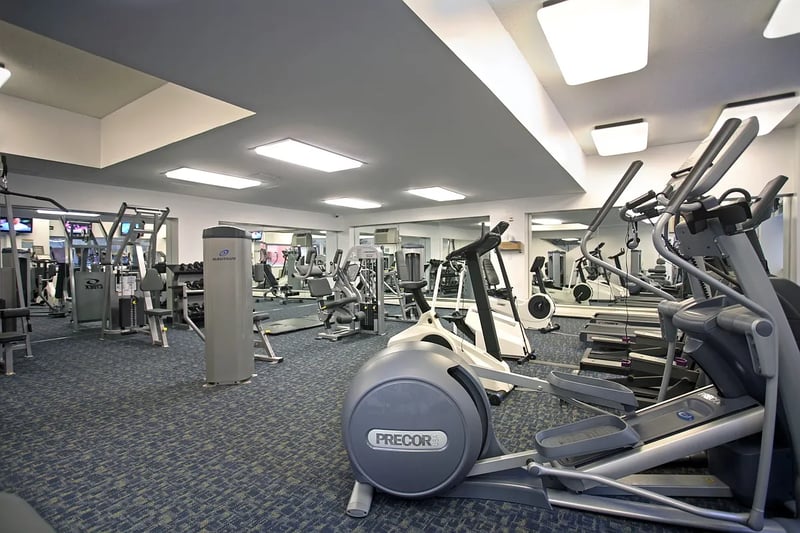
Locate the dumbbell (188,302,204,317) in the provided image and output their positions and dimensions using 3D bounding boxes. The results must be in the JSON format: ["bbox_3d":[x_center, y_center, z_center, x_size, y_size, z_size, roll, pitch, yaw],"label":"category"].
[{"bbox_3d":[-3.535,0.761,8.105,0.252,0.280,0.185,-2,1,-37],"label":"dumbbell"}]

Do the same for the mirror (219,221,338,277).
[{"bbox_3d":[-3.235,-0.442,14.207,2.324,1.505,5.911,-2,0,-16],"label":"mirror"}]

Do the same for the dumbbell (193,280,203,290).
[{"bbox_3d":[-3.440,0.312,8.004,0.129,0.061,0.182,5,5,30],"label":"dumbbell"}]

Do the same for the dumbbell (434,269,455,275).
[{"bbox_3d":[1.170,0.128,11.203,0.279,0.128,1.361,-2,0,8],"label":"dumbbell"}]

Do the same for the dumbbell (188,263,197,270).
[{"bbox_3d":[-3.503,0.001,7.953,0.154,0.055,0.110,5,5,41],"label":"dumbbell"}]

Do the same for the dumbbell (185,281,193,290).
[{"bbox_3d":[-3.368,0.297,7.455,0.119,0.142,0.162,6,10,37],"label":"dumbbell"}]

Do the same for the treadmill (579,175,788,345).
[{"bbox_3d":[1.954,-0.230,3.763,1.254,1.036,1.664,4,2,18],"label":"treadmill"}]

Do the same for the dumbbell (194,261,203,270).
[{"bbox_3d":[-3.477,-0.014,8.048,0.213,0.076,0.156,-2,0,25],"label":"dumbbell"}]

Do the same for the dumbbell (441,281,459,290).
[{"bbox_3d":[1.270,0.524,12.123,0.348,0.089,0.310,-6,-8,33],"label":"dumbbell"}]

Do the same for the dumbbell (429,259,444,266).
[{"bbox_3d":[0.768,-0.081,10.709,0.127,0.159,0.379,-3,-3,-6],"label":"dumbbell"}]
